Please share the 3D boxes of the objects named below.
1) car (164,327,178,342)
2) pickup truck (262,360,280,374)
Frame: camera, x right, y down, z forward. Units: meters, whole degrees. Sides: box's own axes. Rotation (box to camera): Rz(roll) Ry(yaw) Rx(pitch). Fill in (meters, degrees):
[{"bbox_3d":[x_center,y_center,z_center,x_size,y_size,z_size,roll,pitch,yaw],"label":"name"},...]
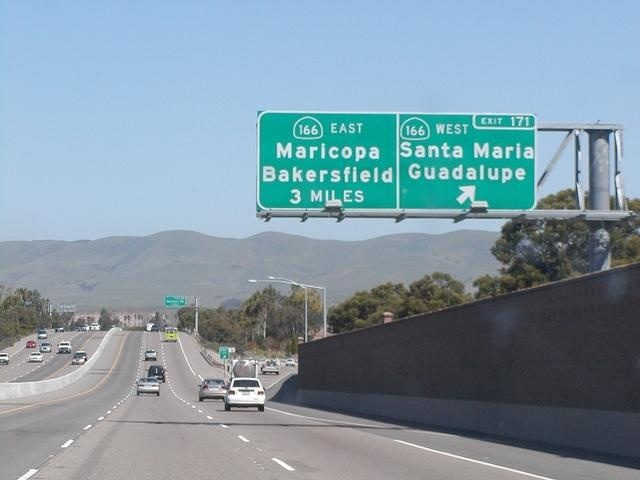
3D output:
[{"bbox_3d":[-23.175,15.064,149.875,1.363,1.859,2.956,0,-5,-5],"label":"car"},{"bbox_3d":[-5.334,14.751,109.487,1.289,1.166,3.183,1,2,0],"label":"pickup truck"}]
